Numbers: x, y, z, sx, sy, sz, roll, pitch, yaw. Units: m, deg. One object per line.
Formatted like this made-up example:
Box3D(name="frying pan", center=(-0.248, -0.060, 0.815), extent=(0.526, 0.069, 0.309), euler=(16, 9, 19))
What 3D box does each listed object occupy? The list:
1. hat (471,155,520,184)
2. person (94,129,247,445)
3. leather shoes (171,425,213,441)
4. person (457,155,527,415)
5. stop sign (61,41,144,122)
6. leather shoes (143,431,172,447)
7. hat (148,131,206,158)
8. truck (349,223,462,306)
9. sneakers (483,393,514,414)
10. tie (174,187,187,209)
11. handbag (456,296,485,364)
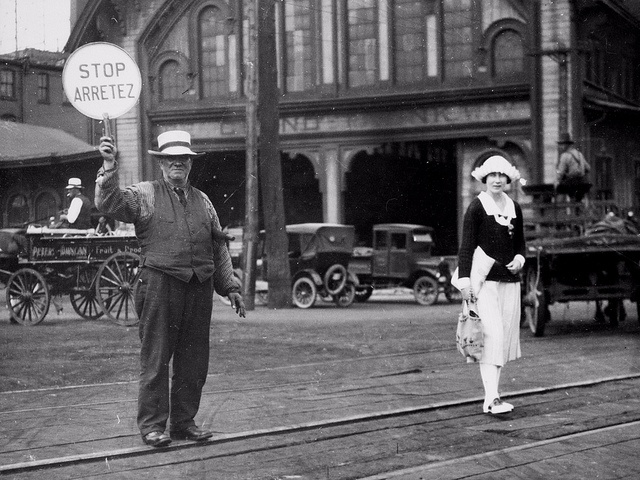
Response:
Box3D(name="hat", center=(1.819, -0.755, 10.553), extent=(0.359, 0.196, 0.366), euler=(3, 0, -36))
Box3D(name="person", center=(-1.426, 0.435, 9.423), extent=(1.357, 2.951, 0.602), euler=(-1, 2, -16))
Box3D(name="leather shoes", center=(-1.230, 1.855, 9.407), extent=(0.344, 0.138, 0.161), euler=(-2, -3, 8))
Box3D(name="person", center=(1.786, 0.634, 10.478), extent=(0.682, 2.309, 0.637), euler=(1, 2, 19))
Box3D(name="stop sign", center=(-2.308, -1.688, 10.478), extent=(0.797, 0.876, 0.641), euler=(1, 3, 36))
Box3D(name="leather shoes", center=(-1.502, 1.852, 9.162), extent=(0.258, 0.118, 0.105), euler=(-4, -6, 26))
Box3D(name="hat", center=(-1.453, -0.922, 9.608), extent=(0.346, 0.160, 0.415), euler=(-1, -2, -21))
Box3D(name="truck", center=(2.286, 0.606, 26.182), extent=(3.244, 1.776, 1.318), euler=(-3, -2, 40))
Box3D(name="sneakers", center=(1.828, 1.709, 10.247), extent=(0.242, 0.108, 0.162), euler=(-4, -2, 33))
Box3D(name="tie", center=(-1.334, -0.416, 9.581), extent=(0.148, 0.155, 0.153), euler=(-2, -7, -20))
Box3D(name="handbag", center=(1.555, 0.969, 10.372), extent=(0.197, 0.658, 0.299), euler=(-2, 3, -37))
